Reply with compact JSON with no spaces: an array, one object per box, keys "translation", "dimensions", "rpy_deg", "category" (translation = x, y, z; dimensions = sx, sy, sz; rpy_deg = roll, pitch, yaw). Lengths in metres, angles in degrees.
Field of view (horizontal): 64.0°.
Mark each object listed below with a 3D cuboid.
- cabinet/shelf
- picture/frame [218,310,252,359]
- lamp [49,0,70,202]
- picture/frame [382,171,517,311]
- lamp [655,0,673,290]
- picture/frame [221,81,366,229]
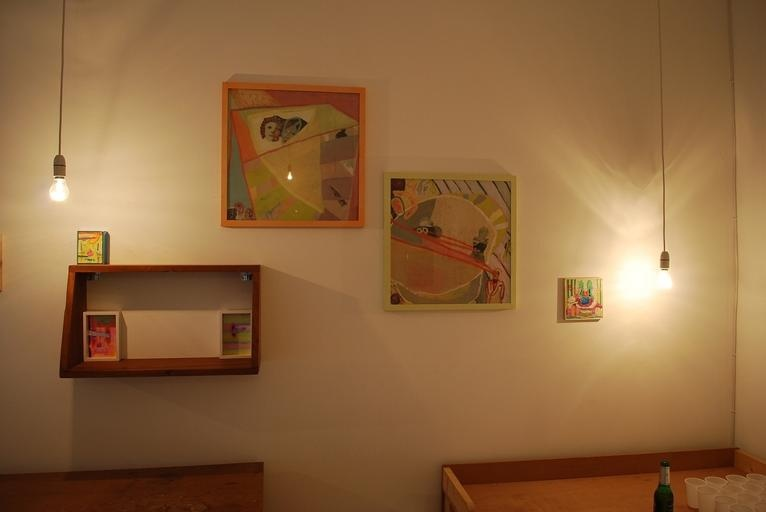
[{"translation":[-1.282,0.378,3.582],"dimensions":[1.120,0.665,0.200],"rpy_deg":[1,-4,-4],"category":"cabinet/shelf"},{"translation":[-0.876,0.466,3.630],"dimensions":[0.274,0.380,0.042],"rpy_deg":[0,-4,-6],"category":"picture/frame"},{"translation":[-1.866,-0.921,3.585],"dimensions":[0.103,1.214,0.285],"rpy_deg":[3,-5,-29],"category":"lamp"},{"translation":[0.369,-0.091,3.780],"dimensions":[0.833,0.863,0.029],"rpy_deg":[0,1,-2],"category":"picture/frame"},{"translation":[1.783,-0.716,3.914],"dimensions":[0.078,1.830,0.227],"rpy_deg":[-1,-5,25],"category":"lamp"},{"translation":[-0.587,-0.619,3.706],"dimensions":[0.856,0.844,0.038],"rpy_deg":[1,-3,-6],"category":"picture/frame"}]
